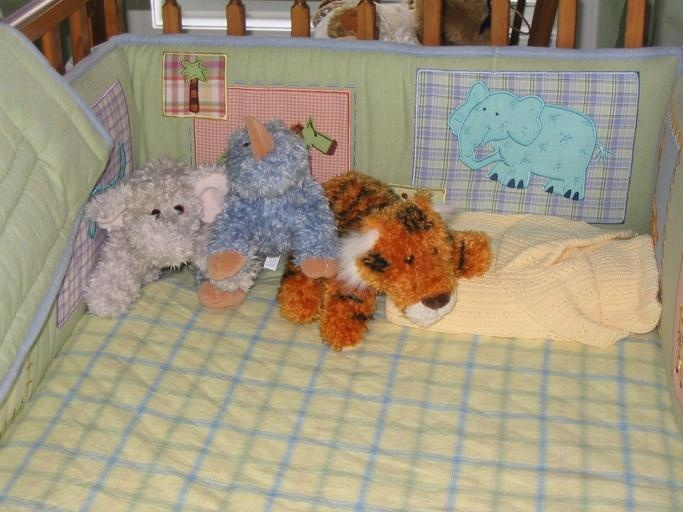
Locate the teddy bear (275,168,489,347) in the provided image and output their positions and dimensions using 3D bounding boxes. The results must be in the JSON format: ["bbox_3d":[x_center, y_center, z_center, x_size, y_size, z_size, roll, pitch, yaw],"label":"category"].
[{"bbox_3d":[0.084,0.062,1.712,0.512,0.330,0.510,-30,53,-17],"label":"teddy bear"}]

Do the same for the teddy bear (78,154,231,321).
[{"bbox_3d":[-0.635,-0.039,1.914,0.566,0.406,0.418,-12,58,-31],"label":"teddy bear"}]
